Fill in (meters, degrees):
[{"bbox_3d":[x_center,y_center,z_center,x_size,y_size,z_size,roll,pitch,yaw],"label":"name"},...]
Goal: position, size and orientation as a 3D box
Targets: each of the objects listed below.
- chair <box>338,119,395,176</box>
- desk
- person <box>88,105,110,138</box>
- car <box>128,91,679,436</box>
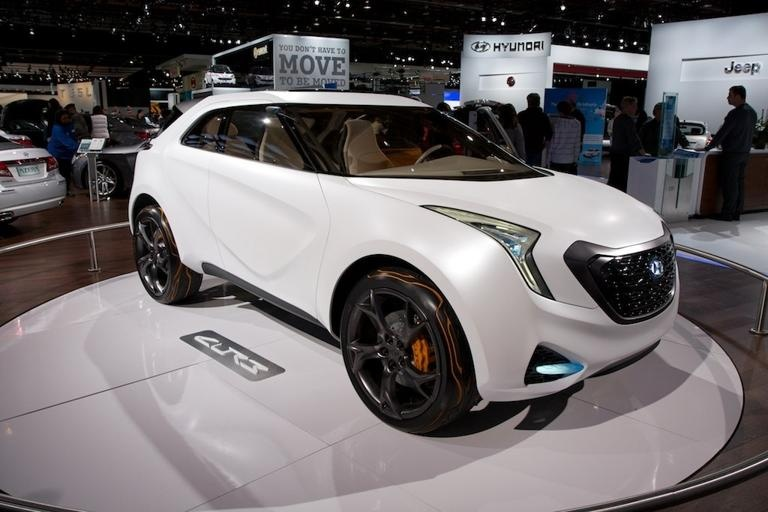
[{"bbox_3d":[-0.101,-0.756,3.117,0.355,0.516,0.424,-13,12,-14],"label":"chair"},{"bbox_3d":[6.478,-1.489,8.231,1.367,0.975,0.715,-5,9,-15],"label":"desk"},{"bbox_3d":[-6.465,-3.103,9.829,0.305,0.776,0.287,-8,9,-39],"label":"person"},{"bbox_3d":[-0.288,-0.119,3.493,4.007,1.597,2.196,18,25,38],"label":"car"}]
